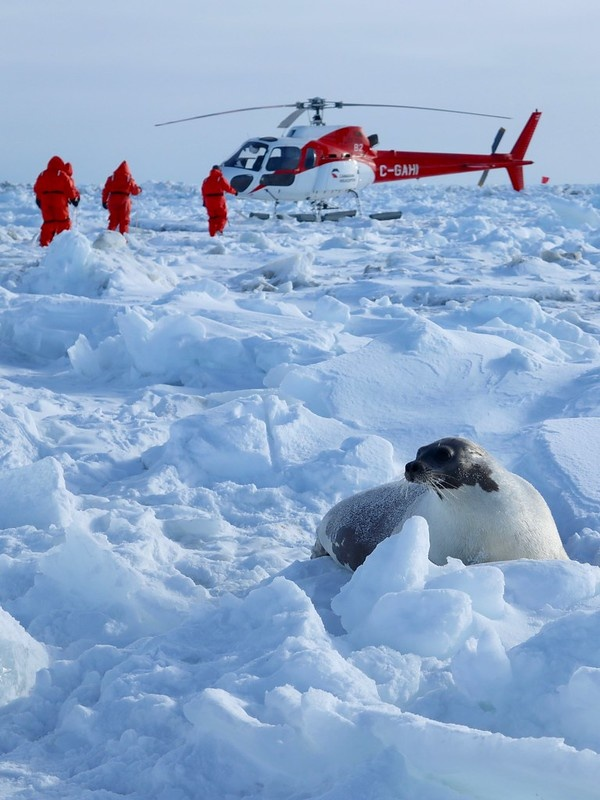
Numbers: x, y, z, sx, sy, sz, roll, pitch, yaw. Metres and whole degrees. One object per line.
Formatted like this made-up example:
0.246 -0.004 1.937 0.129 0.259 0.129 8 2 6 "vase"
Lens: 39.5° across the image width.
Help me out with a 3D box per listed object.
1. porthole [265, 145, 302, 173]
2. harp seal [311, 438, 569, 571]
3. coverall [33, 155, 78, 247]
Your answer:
-0.254 -3.637 12.597 0.490 0.398 0.091 5 16 -6 "porthole"
0.444 0.426 2.945 0.660 0.441 1.174 -3 -11 -19 "harp seal"
-2.941 -2.360 10.017 0.509 1.071 1.199 2 15 -17 "coverall"
